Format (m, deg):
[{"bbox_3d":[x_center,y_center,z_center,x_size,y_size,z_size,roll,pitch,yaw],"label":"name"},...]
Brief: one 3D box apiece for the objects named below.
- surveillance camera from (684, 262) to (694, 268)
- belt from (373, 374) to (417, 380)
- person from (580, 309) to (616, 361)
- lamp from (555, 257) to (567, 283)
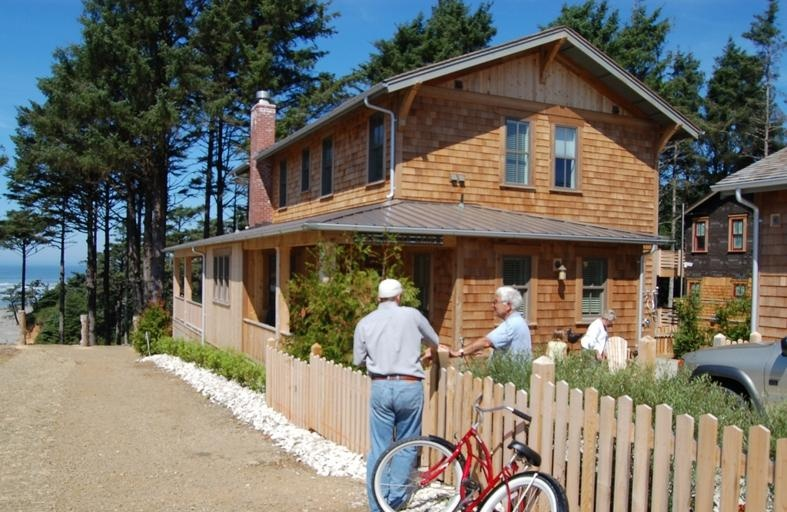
[{"bbox_3d":[17.546,0.562,43.095,0.532,0.323,0.636,1,-6,-2],"label":"surveillance camera"},{"bbox_3d":[0.014,2.304,13.580,0.857,0.107,0.175,1,-5,-2],"label":"belt"},{"bbox_3d":[5.094,2.149,18.167,0.540,1.807,1.042,10,33,13],"label":"person"},{"bbox_3d":[5.186,0.447,22.189,0.483,0.693,0.230,4,-6,-35],"label":"lamp"}]
